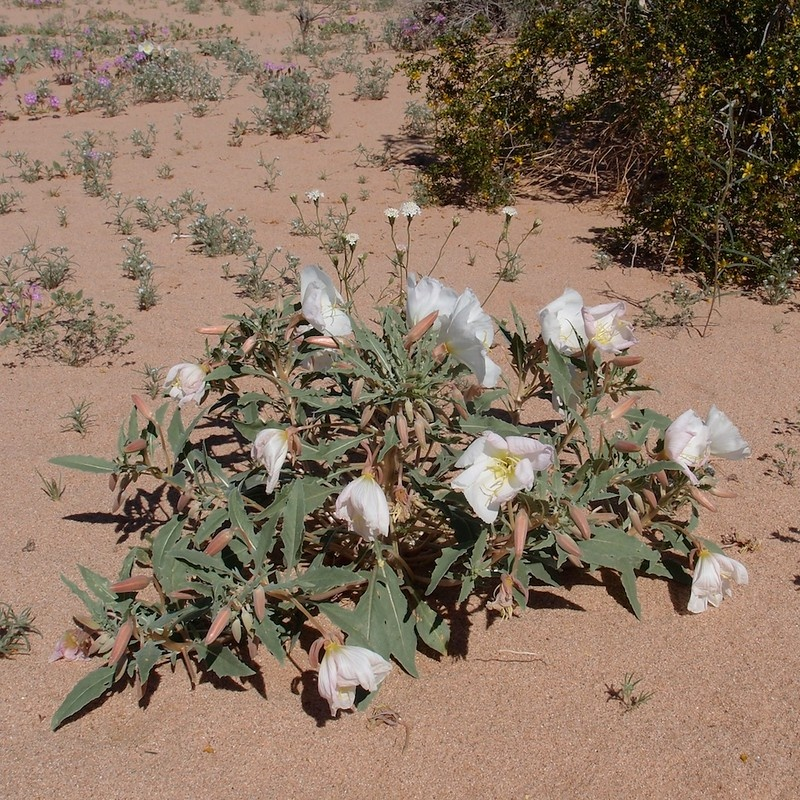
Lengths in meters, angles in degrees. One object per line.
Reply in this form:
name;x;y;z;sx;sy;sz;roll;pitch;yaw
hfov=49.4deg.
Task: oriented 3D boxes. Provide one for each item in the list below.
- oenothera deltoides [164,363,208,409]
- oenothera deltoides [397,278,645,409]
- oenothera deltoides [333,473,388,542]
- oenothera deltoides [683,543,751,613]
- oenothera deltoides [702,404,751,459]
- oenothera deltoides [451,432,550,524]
oenothera deltoides;-0.846;-0.054;3.449;0.179;0.171;0.101;9;8;4
oenothera deltoides;0.421;-0.273;3.126;0.592;0.238;0.570;-5;25;-40
oenothera deltoides;-0.105;0.345;2.831;0.191;0.210;0.111;9;23;30
oenothera deltoides;1.253;0.693;3.442;0.264;0.281;0.118;-8;45;8
oenothera deltoides;1.249;0.133;3.260;0.099;0.200;0.197;-20;51;7
oenothera deltoides;0.309;0.225;2.732;0.270;0.250;0.182;-15;37;-27
